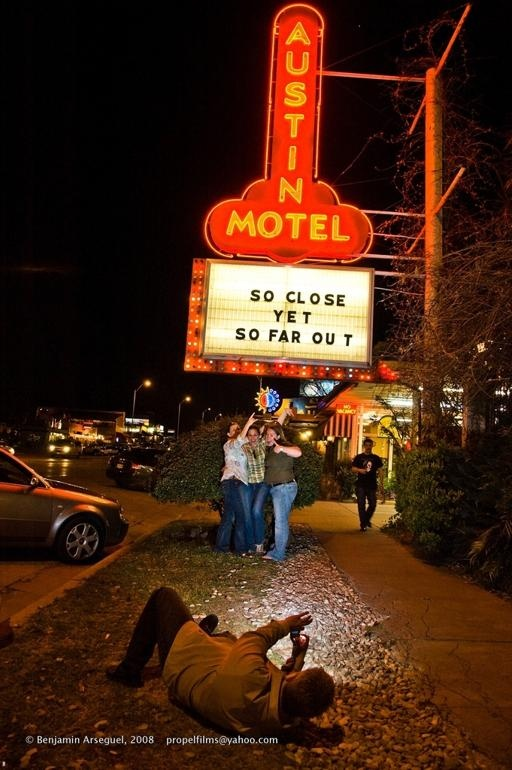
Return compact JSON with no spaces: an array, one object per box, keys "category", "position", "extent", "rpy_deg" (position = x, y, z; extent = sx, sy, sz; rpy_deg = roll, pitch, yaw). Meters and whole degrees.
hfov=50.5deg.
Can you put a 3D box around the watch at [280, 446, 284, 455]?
[{"category":"watch","position":[0.346,0.900,7.377],"extent":[0.073,0.091,0.109],"rpy_deg":[1,-7,2]}]

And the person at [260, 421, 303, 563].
[{"category":"person","position":[0.332,1.470,7.426],"extent":[0.567,1.853,0.436],"rpy_deg":[-1,-8,20]}]

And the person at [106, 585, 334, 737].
[{"category":"person","position":[-0.237,1.461,2.927],"extent":[1.317,0.525,0.902],"rpy_deg":[-9,16,17]}]

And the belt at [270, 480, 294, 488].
[{"category":"belt","position":[0.353,1.363,7.381],"extent":[0.310,0.080,0.111],"rpy_deg":[2,-7,-2]}]
